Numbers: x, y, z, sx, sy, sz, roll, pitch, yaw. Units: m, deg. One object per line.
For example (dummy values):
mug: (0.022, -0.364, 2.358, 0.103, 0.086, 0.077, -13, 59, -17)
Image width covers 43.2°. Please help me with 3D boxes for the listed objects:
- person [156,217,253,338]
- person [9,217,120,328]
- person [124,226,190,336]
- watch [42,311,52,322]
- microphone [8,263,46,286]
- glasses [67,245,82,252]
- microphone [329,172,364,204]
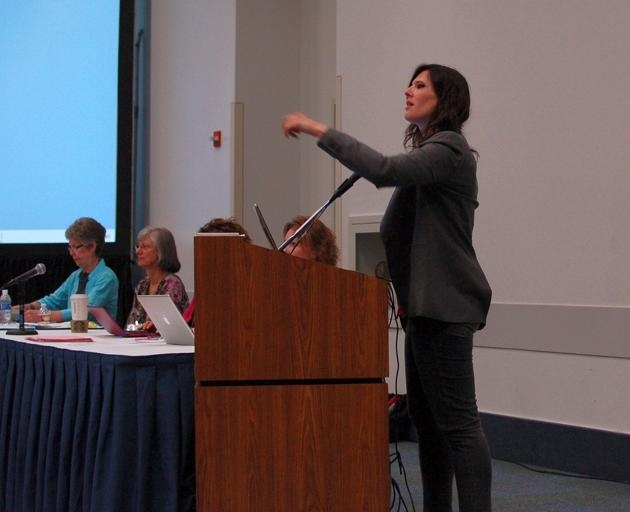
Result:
person: (-0.489, 0.094, 3.911, 0.300, 0.517, 1.356, -1, 5, -7)
person: (-1.640, 0.186, 5.338, 0.525, 0.917, 0.551, 3, -5, 25)
person: (-0.947, 0.302, 4.808, 0.371, 0.945, 0.282, -3, -4, 37)
watch: (-1.724, 0.389, 5.117, 0.047, 0.061, 0.054, 1, -9, -3)
microphone: (-2.056, 0.136, 5.708, 0.193, 0.062, 0.061, -32, 20, -3)
glasses: (-1.601, -0.050, 5.317, 0.060, 0.024, 0.062, 9, -9, -33)
microphone: (0.121, -0.263, 3.104, 0.113, 0.105, 0.123, 0, 4, 2)
